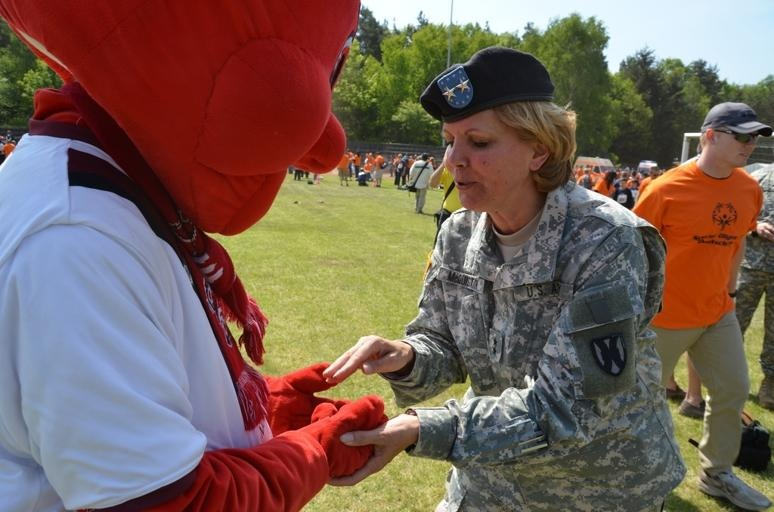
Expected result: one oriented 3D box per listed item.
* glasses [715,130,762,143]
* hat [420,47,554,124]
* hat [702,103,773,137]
[{"bbox_3d":[2.486,-0.866,4.789,0.192,0.058,0.150,18,20,35],"label":"glasses"},{"bbox_3d":[0.441,-0.705,2.890,0.428,0.255,0.325,0,9,1],"label":"hat"},{"bbox_3d":[2.522,-0.994,4.856,0.419,0.252,0.310,6,9,34],"label":"hat"}]
